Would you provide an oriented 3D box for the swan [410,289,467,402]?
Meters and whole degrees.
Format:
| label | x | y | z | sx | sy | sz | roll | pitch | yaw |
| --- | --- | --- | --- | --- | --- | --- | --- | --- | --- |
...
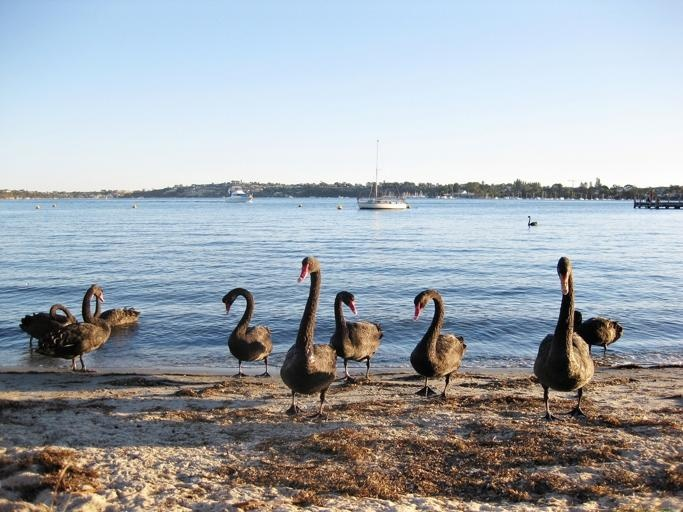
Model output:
| label | x | y | z | sx | sy | sz | roll | pitch | yaw |
| --- | --- | --- | --- | --- | --- | --- | --- | --- | --- |
| swan | 2.099 | 2.354 | 17.411 | 1.489 | 2.707 | 1.713 | 4 | 9 | 25 |

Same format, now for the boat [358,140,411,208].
| label | x | y | z | sx | sy | sz | roll | pitch | yaw |
| --- | --- | --- | --- | --- | --- | --- | --- | --- | --- |
| boat | 9.753 | -16.904 | 151.699 | 13.419 | 13.350 | 3.446 | 0 | 5 | -28 |

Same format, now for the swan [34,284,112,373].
| label | x | y | z | sx | sy | sz | roll | pitch | yaw |
| --- | --- | --- | --- | --- | --- | --- | --- | --- | --- |
| swan | -7.981 | 2.180 | 20.592 | 1.495 | 2.526 | 2.357 | -2 | 0 | 32 |

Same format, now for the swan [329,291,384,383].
| label | x | y | z | sx | sy | sz | roll | pitch | yaw |
| --- | --- | --- | --- | --- | --- | --- | --- | --- | --- |
| swan | 0.639 | 2.351 | 20.005 | 1.108 | 1.991 | 3.021 | -3 | -11 | 18 |

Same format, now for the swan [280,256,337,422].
| label | x | y | z | sx | sy | sz | roll | pitch | yaw |
| --- | --- | --- | --- | --- | --- | --- | --- | --- | --- |
| swan | -0.733 | 1.859 | 15.673 | 1.212 | 3.712 | 2.238 | 0 | 7 | -1 |

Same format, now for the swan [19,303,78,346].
| label | x | y | z | sx | sy | sz | roll | pitch | yaw |
| --- | --- | --- | --- | --- | --- | --- | --- | --- | --- |
| swan | -9.649 | 2.351 | 22.697 | 2.026 | 1.458 | 1.161 | 7 | -1 | 14 |

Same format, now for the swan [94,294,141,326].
| label | x | y | z | sx | sy | sz | roll | pitch | yaw |
| --- | --- | --- | --- | --- | --- | --- | --- | --- | --- |
| swan | -8.571 | 2.215 | 25.846 | 0.775 | 1.309 | 2.153 | -5 | -5 | 42 |

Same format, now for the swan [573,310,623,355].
| label | x | y | z | sx | sy | sz | roll | pitch | yaw |
| --- | --- | --- | --- | --- | --- | --- | --- | --- | --- |
| swan | 8.262 | 2.332 | 22.144 | 1.580 | 1.335 | 1.611 | 0 | 6 | 5 |
